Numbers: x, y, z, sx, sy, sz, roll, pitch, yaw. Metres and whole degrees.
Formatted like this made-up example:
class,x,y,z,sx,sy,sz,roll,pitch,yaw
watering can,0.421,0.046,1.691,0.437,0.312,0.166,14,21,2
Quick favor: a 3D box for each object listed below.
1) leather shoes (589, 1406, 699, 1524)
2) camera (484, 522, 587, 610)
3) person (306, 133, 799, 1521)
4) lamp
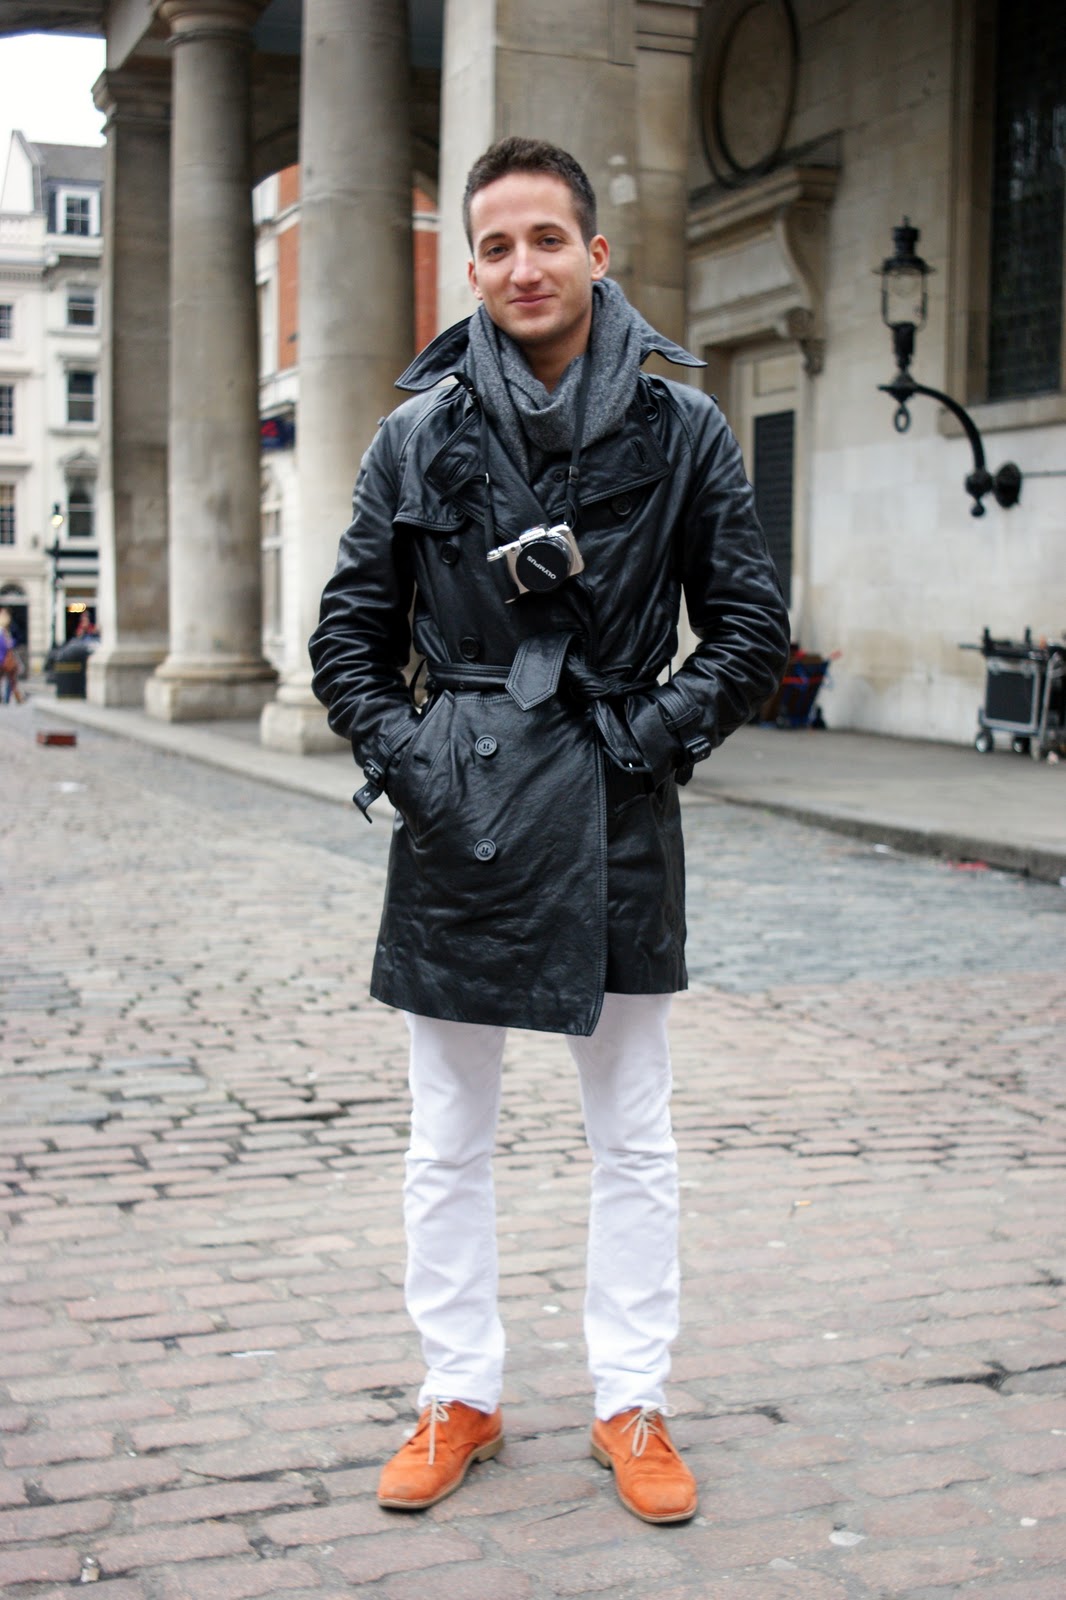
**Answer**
class,x,y,z,sx,sy,sz,roll,pitch,yaw
leather shoes,0.148,0.926,2.640,0.070,0.077,0.184,-8,1,-16
camera,0.006,-0.324,2.621,0.152,0.088,0.100,-18,17,7
person,-0.005,0.013,2.745,0.697,1.917,0.397,2,2,6
lamp,3.505,-3.840,16.854,1.292,2.666,1.697,1,2,-4
